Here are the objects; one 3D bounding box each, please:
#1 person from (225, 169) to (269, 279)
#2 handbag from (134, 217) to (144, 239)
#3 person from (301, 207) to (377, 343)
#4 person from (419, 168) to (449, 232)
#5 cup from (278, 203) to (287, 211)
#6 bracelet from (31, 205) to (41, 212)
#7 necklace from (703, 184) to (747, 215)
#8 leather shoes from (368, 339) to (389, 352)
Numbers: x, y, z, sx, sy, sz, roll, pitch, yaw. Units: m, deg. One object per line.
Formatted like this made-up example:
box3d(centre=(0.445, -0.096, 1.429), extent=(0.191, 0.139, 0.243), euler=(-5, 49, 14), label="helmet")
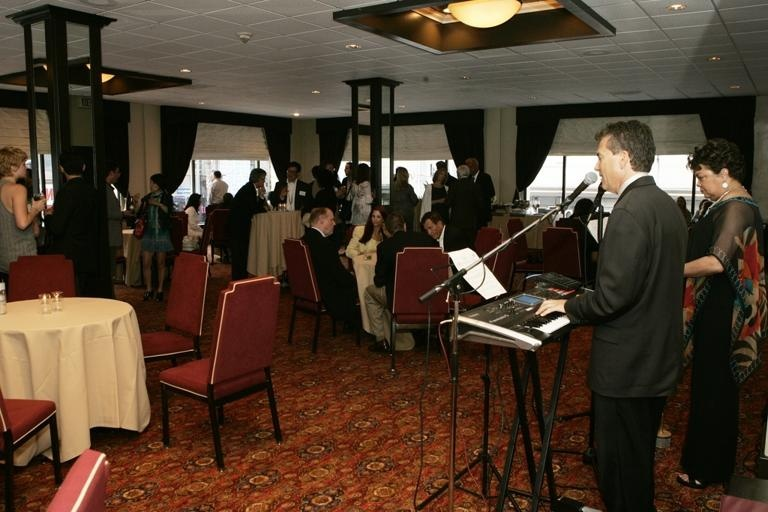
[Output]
box3d(centre=(-2.145, -0.455, 9.419), extent=(0.574, 1.856, 0.639), euler=(19, 21, 36), label="person")
box3d(centre=(-3.650, -0.409, 8.767), extent=(0.159, 0.335, 0.310), euler=(0, 10, -14), label="handbag")
box3d(centre=(-0.486, 0.081, 6.740), extent=(0.815, 1.325, 0.860), euler=(-18, 31, -38), label="person")
box3d(centre=(1.004, -0.907, 11.123), extent=(0.655, 1.469, 0.514), euler=(-6, 24, -12), label="person")
box3d(centre=(-1.692, -0.819, 9.878), extent=(0.126, 0.149, 0.130), euler=(1, 9, 0), label="cup")
box3d(centre=(-3.280, -0.451, 5.537), extent=(0.079, 0.062, 0.080), euler=(-4, 10, -31), label="bracelet")
box3d(centre=(2.398, -0.432, 4.132), extent=(0.231, 0.101, 0.216), euler=(-4, -13, -46), label="necklace")
box3d(centre=(-0.063, 1.003, 6.595), extent=(0.212, 0.088, 0.102), euler=(4, -2, 0), label="leather shoes")
